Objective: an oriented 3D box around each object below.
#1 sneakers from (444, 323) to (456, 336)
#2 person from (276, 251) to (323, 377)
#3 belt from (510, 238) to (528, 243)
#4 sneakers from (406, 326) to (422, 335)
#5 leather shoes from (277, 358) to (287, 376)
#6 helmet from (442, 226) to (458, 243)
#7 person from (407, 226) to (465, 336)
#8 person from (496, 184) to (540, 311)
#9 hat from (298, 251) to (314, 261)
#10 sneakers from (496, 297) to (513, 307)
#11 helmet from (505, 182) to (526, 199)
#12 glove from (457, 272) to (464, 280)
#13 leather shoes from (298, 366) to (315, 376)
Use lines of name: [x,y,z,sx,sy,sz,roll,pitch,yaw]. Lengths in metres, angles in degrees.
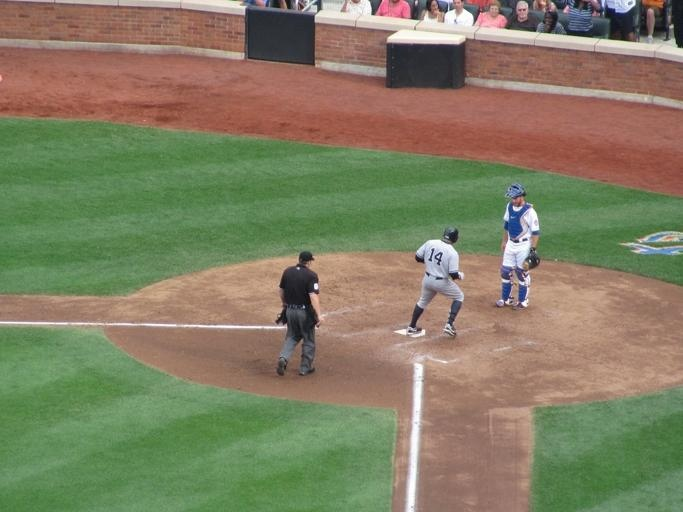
sneakers: [1.926,1.360,24.661,0.121,0.146,0.332,14,-11,41]
person: [-0.815,1.023,23.521,0.779,2.182,0.764,0,14,-3]
belt: [3.349,-0.274,25.467,0.303,0.111,0.038,3,14,9]
sneakers: [1.279,1.371,24.742,0.308,0.126,0.120,-13,23,-36]
leather shoes: [-1.108,1.948,23.440,0.144,0.318,0.138,3,7,3]
helmet: [1.954,-0.370,24.469,0.262,0.281,0.287,13,24,12]
person: [1.695,0.482,24.590,0.962,2.011,0.627,2,14,4]
person: [3.333,-0.189,25.518,0.755,2.364,0.556,4,14,11]
hat: [-0.689,0.006,23.521,0.213,0.203,0.289,1,13,-2]
sneakers: [3.075,0.893,25.713,0.370,0.160,0.133,-2,11,-20]
helmet: [3.227,-1.178,25.197,0.307,0.296,0.186,0,14,-5]
glove: [2.141,0.387,24.482,0.145,0.068,0.191,0,6,4]
leather shoes: [-0.655,2.052,23.632,0.308,0.126,0.109,-21,33,-31]
